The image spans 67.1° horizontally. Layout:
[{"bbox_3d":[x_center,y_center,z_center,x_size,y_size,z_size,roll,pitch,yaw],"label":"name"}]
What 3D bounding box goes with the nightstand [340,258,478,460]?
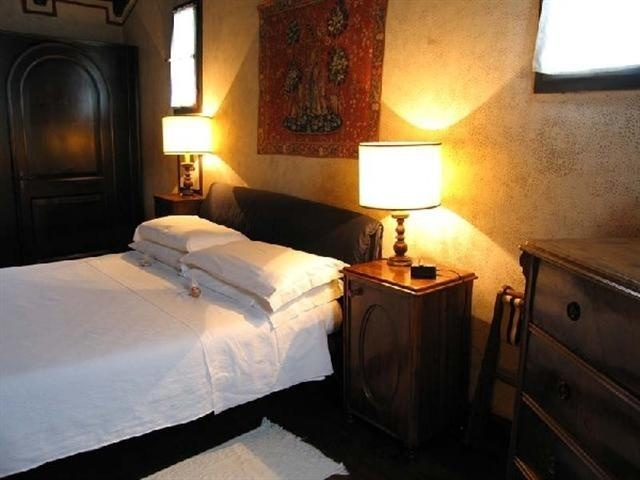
[{"bbox_3d":[0.332,0.467,2.644,0.687,1.098,0.733,-6,11,-39],"label":"nightstand"}]
